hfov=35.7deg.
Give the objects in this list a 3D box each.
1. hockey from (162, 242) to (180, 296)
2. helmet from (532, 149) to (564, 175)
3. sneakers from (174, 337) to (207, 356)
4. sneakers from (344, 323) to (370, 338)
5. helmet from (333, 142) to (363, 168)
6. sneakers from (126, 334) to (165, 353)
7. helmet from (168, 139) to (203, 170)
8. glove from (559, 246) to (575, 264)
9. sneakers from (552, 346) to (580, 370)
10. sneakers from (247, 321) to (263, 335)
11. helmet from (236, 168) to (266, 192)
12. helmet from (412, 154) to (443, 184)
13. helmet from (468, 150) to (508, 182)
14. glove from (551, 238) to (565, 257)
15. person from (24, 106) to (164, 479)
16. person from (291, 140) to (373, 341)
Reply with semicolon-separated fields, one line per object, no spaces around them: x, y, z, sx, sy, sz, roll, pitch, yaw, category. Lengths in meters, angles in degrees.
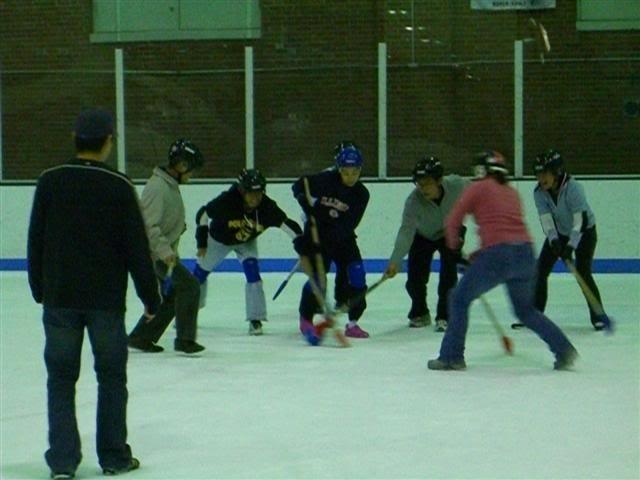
-1.196;0.284;7.933;0.137;0.376;0.232;-2;12;-10;hockey
2.030;-0.676;8.797;0.221;0.232;0.174;12;-15;-40;helmet
-1.053;0.873;8.073;0.247;0.207;0.110;0;0;7;sneakers
0.318;0.788;8.609;0.183;0.100;0.106;-4;-3;31;sneakers
0.251;-0.713;8.265;0.172;0.242;0.229;0;-2;-6;helmet
-1.410;0.857;8.147;0.352;0.173;0.127;8;1;-10;sneakers
-1.084;-0.716;8.066;0.259;0.269;0.205;-7;12;-28;helmet
2.220;0.146;8.800;0.098;0.152;0.155;-1;47;-16;glove
1.855;0.905;7.443;0.152;0.194;0.132;-2;12;-18;sneakers
-0.564;0.771;8.798;0.129;0.134;0.330;-1;13;-4;sneakers
-0.564;-0.495;8.439;0.151;0.212;0.211;-1;-19;-13;helmet
0.925;-0.615;8.548;0.223;0.246;0.184;9;-4;-25;helmet
1.301;-0.585;7.647;0.298;0.350;0.226;3;5;22;helmet
2.133;0.053;8.844;0.078;0.147;0.180;10;-10;29;glove
-1.381;0.473;6.147;0.785;1.925;0.511;-4;11;-17;person
0.119;-0.004;8.641;0.631;1.759;0.768;0;11;0;person
